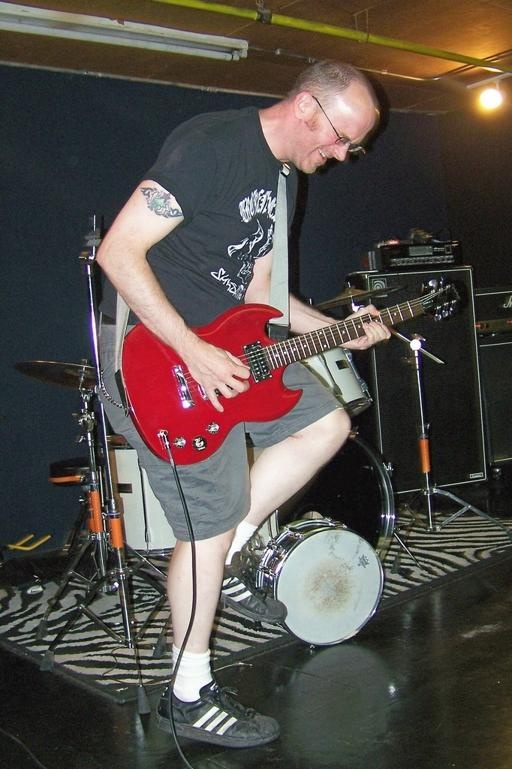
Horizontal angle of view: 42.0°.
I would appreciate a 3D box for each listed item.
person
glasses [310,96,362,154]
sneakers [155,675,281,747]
[{"bbox_3d":[0.009,0.044,1.650,0.738,1.281,0.611,-6,-2,-16],"label":"person"},{"bbox_3d":[0.177,-0.605,1.561,0.033,0.102,0.106,-22,-7,33],"label":"glasses"},{"bbox_3d":[-0.081,0.777,1.601,0.335,0.134,0.114,9,-28,4],"label":"sneakers"}]
